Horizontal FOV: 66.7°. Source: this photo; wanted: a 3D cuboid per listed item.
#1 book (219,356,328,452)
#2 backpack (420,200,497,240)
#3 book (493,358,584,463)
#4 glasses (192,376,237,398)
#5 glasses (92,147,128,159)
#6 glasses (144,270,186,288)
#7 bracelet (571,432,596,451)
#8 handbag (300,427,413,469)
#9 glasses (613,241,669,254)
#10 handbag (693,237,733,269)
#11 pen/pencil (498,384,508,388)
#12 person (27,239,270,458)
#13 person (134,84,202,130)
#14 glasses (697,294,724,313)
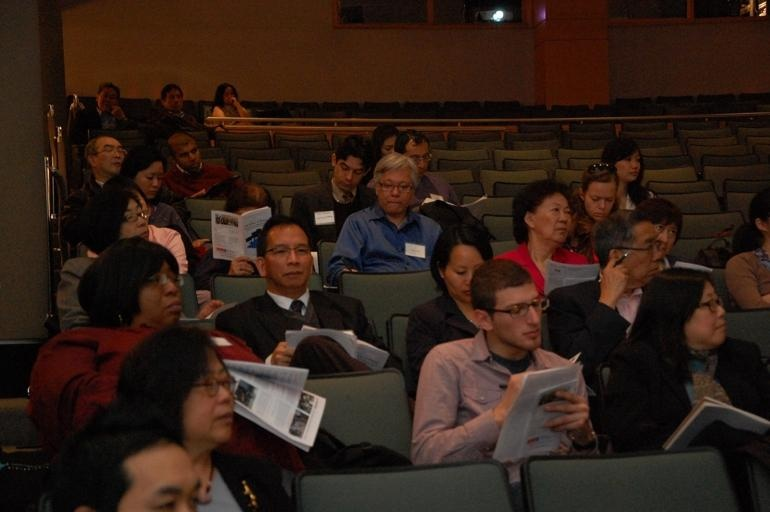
[{"bbox_3d":[-0.359,0.470,1.924,0.341,0.261,0.119,19,-22,-16],"label":"book"},{"bbox_3d":[0.536,-0.351,4.864,0.565,0.287,0.711,10,0,3],"label":"backpack"},{"bbox_3d":[0.565,0.573,2.117,0.327,0.300,0.122,8,6,-42],"label":"book"},{"bbox_3d":[-0.514,0.374,1.664,0.084,0.029,0.083,-9,-7,30],"label":"glasses"},{"bbox_3d":[-2.368,-0.870,4.927,0.146,0.046,0.145,-2,-3,-38],"label":"glasses"},{"bbox_3d":[-0.927,0.092,2.415,0.112,0.037,0.111,-12,-9,35],"label":"glasses"},{"bbox_3d":[0.800,0.720,2.338,0.090,0.068,0.091,-2,-4,-20],"label":"bracelet"},{"bbox_3d":[-0.143,0.693,2.160,0.230,0.102,0.334,0,-27,42],"label":"handbag"},{"bbox_3d":[1.434,-0.049,3.213,0.202,0.058,0.162,-1,1,2],"label":"glasses"},{"bbox_3d":[2.430,-0.022,4.265,0.222,0.092,0.173,-9,25,9],"label":"handbag"},{"bbox_3d":[0.483,0.522,2.354,0.024,0.018,0.006,3,-1,-6],"label":"pen/pencil"},{"bbox_3d":[-0.847,0.313,2.134,0.602,0.518,0.948,12,37,-50],"label":"person"},{"bbox_3d":[-3.423,-2.401,9.353,0.812,0.459,1.095,-5,29,-28],"label":"person"},{"bbox_3d":[1.431,0.211,2.541,0.097,0.034,0.104,1,-34,-11],"label":"glasses"}]
